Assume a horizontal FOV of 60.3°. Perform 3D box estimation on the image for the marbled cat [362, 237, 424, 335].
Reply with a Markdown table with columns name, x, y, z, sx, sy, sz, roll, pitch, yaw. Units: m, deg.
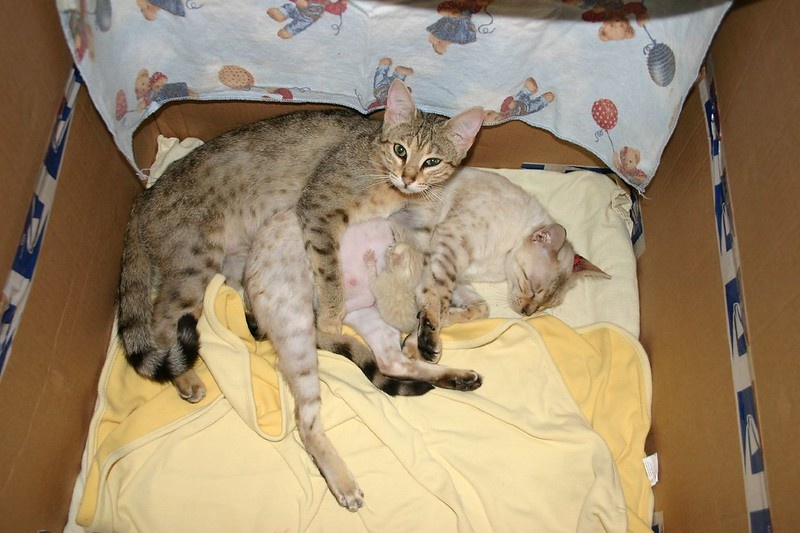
| name | x | y | z | sx | sy | sz | roll | pitch | yaw |
| --- | --- | --- | --- | --- | --- | --- | --- | --- | --- |
| marbled cat | -0.036 | 0.143 | 4.730 | 0.353 | 0.640 | 0.196 | -6 | 4 | 23 |
